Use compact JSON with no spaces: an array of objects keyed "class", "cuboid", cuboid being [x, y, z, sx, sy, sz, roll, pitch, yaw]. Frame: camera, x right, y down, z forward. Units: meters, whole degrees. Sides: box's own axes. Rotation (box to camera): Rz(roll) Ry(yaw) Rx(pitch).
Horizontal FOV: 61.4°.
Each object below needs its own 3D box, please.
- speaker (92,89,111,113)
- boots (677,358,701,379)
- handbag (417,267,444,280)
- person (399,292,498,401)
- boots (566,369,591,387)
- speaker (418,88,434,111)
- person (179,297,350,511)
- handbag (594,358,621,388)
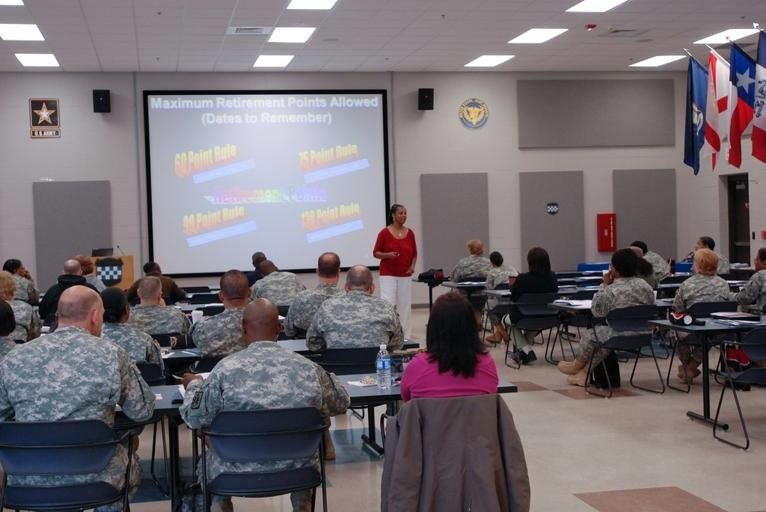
[{"class":"speaker","cuboid":[-5.884,-3.266,13.544,0.358,0.510,0.311,-4,6,-24]},{"class":"boots","cuboid":[3.902,1.443,8.308,0.170,0.337,0.336,4,-14,21]},{"class":"handbag","cuboid":[0.812,0.302,10.676,0.275,0.119,0.222,0,2,30]},{"class":"person","cuboid":[0.456,0.748,4.406,0.721,1.007,0.506,-3,16,-4]},{"class":"boots","cuboid":[2.546,1.574,8.411,0.296,0.314,0.146,6,3,23]},{"class":"speaker","cuboid":[0.969,-3.559,14.602,0.442,0.604,0.290,0,7,-2]},{"class":"person","cuboid":[-0.882,1.147,4.854,1.362,1.924,1.056,1,38,-10]},{"class":"handbag","cuboid":[2.855,1.487,8.234,0.225,0.436,0.358,-1,5,-18]}]
